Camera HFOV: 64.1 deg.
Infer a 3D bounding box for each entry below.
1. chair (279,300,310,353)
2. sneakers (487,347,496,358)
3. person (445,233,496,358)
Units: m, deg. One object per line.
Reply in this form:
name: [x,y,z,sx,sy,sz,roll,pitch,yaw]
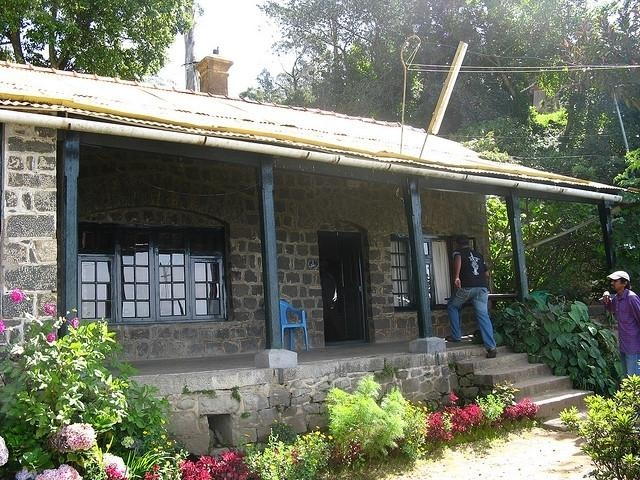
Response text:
chair: [-0.465,1.524,9.195,0.598,0.913,0.677,4,-8,-14]
sneakers: [2.873,1.919,8.627,0.173,0.142,0.191,-9,-9,19]
person: [2.618,0.999,9.131,0.777,2.157,0.717,-9,-9,24]
